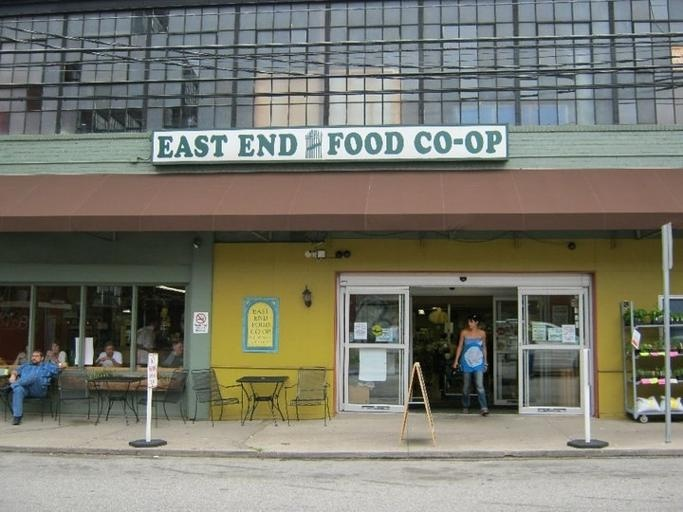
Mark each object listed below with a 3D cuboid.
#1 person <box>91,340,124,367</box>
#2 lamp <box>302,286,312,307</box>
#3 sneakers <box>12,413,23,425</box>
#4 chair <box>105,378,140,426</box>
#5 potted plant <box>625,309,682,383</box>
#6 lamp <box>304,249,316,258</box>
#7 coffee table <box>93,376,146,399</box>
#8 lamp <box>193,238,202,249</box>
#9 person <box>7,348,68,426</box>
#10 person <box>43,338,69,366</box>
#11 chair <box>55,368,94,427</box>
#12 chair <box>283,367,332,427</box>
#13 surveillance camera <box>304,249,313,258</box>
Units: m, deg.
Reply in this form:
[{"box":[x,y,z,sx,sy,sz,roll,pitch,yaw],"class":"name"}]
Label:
[{"box":[-5.144,2.178,20.891,0.539,0.807,0.536,-3,-19,-5],"class":"person"},{"box":[-0.744,0.875,20.292,0.207,0.460,0.189,-1,4,-5],"class":"lamp"},{"box":[-6.748,3.405,19.442,0.101,0.223,0.309,4,-30,-13],"class":"sneakers"},{"box":[-4.736,3.089,20.204,0.909,0.908,0.939,-1,-11,3],"class":"chair"},{"box":[6.410,1.821,19.199,1.589,1.632,0.574,0,-3,3],"class":"potted plant"},{"box":[-0.686,-0.069,20.409,0.220,0.162,0.035,-1,4,-1],"class":"lamp"},{"box":[-4.836,2.792,20.114,0.729,0.362,0.697,2,-7,-5],"class":"coffee table"},{"box":[-3.182,-0.298,20.479,0.229,0.240,0.116,3,6,37],"class":"lamp"},{"box":[-6.679,2.733,19.995,0.951,1.471,0.963,-2,-12,29],"class":"person"},{"box":[-6.308,2.147,20.823,0.454,0.732,0.486,-6,-21,-5],"class":"person"},{"box":[-5.896,2.969,20.513,0.863,1.489,1.005,3,-13,-20],"class":"chair"},{"box":[-0.691,2.938,19.773,0.976,1.158,1.006,-1,4,-5],"class":"chair"},{"box":[-0.717,-0.079,20.411,0.194,0.204,0.059,1,1,5],"class":"surveillance camera"}]
